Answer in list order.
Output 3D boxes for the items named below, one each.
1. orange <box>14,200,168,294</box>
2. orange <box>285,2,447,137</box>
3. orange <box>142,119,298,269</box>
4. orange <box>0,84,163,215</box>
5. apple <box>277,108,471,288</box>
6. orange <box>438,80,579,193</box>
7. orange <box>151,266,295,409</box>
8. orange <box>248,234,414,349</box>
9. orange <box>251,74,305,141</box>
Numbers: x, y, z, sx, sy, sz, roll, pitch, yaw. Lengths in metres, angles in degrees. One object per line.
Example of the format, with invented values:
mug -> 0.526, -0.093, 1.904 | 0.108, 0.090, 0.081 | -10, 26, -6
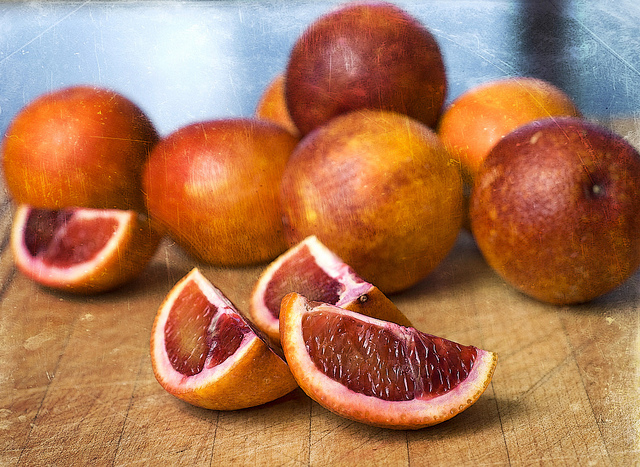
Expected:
orange -> -0.251, -0.003, 0.732 | 0.111, 0.123, 0.076 | -32, 89, -9
orange -> 0.034, -0.145, 0.721 | 0.122, 0.126, 0.162 | 4, 99, -18
orange -> -0.098, -0.044, 0.715 | 0.141, 0.112, 0.120 | -22, 52, 14
orange -> -0.237, -0.048, 0.711 | 0.132, 0.125, 0.144 | -4, 81, 41
apple -> 0.048, -0.006, 0.742 | 0.190, 0.210, 0.226 | -8, 95, -32
orange -> 0.191, -0.092, 0.712 | 0.107, 0.111, 0.144 | 6, 90, 17
orange -> -0.086, 0.098, 0.642 | 0.098, 0.082, 0.128 | -10, 29, -29
orange -> 0.002, 0.061, 0.691 | 0.132, 0.128, 0.053 | -32, 25, 35
orange -> -0.036, -0.133, 0.686 | 0.054, 0.050, 0.037 | 7, 91, 14
